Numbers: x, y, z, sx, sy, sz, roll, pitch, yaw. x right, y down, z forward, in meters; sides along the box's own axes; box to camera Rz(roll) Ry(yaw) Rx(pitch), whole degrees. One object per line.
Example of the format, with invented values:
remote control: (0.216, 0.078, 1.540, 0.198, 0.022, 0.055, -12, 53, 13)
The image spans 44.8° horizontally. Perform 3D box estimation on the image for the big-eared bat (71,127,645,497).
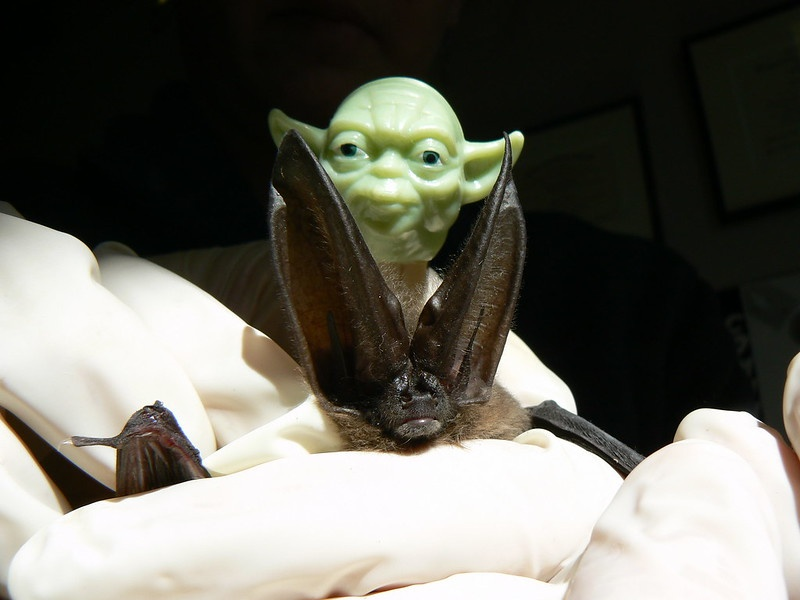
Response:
big-eared bat: (-0.011, 0.067, 1.274, 0.755, 0.576, 0.382, 4, -14, -27)

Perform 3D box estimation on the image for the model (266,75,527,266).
model: (-0.007, -0.173, 1.335, 0.316, 0.274, 0.212, 6, -9, 1)
